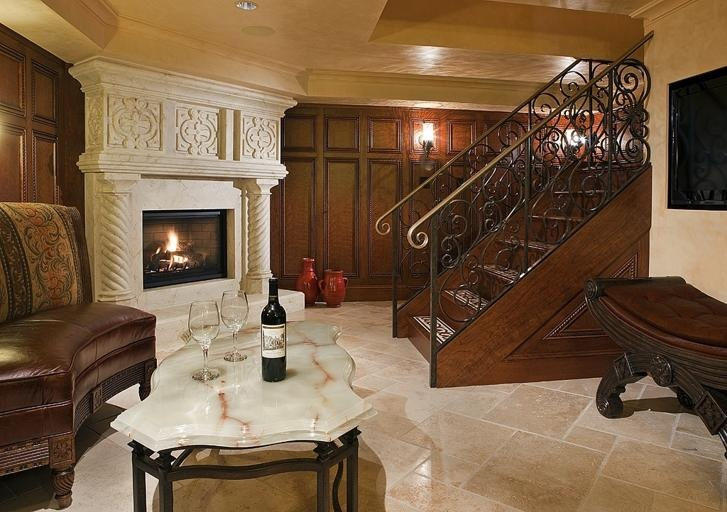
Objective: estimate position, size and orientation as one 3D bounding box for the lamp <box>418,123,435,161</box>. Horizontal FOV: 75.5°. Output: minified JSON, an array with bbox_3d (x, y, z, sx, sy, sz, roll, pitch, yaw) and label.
[{"bbox_3d":[0.970,-1.747,7.161,0.261,0.560,0.148,-1,10,-2],"label":"lamp"}]

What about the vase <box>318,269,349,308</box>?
[{"bbox_3d":[-0.456,0.495,6.914,0.523,0.496,0.331,-1,3,-39],"label":"vase"}]
